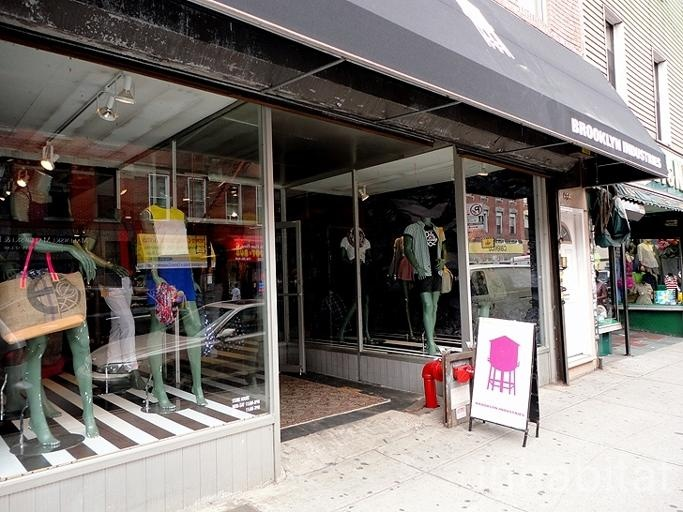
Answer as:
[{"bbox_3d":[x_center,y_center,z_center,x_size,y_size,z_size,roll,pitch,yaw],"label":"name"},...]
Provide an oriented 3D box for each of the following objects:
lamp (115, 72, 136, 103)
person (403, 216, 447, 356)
[{"bbox_3d":[-1.737,-1.337,3.689,0.143,0.188,0.145,-1,1,-26],"label":"lamp"},{"bbox_3d":[1.192,0.423,6.591,0.586,1.949,0.143,0,1,38],"label":"person"}]
